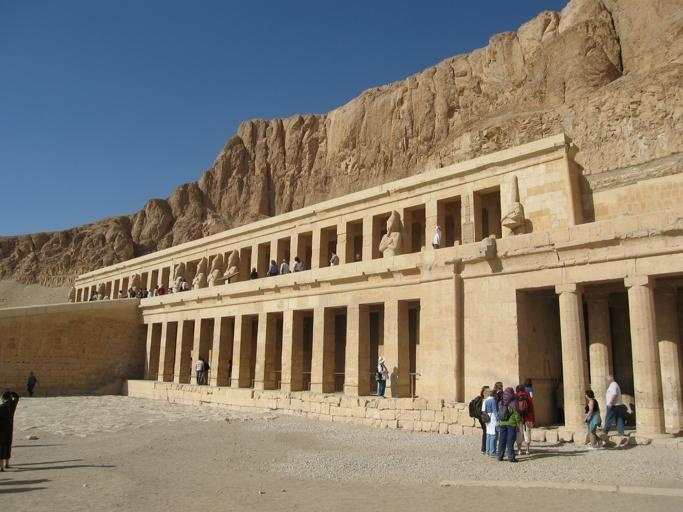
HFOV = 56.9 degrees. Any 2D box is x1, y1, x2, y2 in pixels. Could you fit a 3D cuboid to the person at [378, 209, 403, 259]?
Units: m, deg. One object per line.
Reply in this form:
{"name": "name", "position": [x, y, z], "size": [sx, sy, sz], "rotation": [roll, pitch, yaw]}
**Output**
{"name": "person", "position": [2.051, -0.938, 26.365], "size": [0.907, 2.210, 1.222], "rotation": [-2, -13, 5]}

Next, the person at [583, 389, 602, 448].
{"name": "person", "position": [7.152, 4.599, 17.878], "size": [0.378, 1.554, 0.744], "rotation": [-5, -14, 20]}

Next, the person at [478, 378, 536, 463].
{"name": "person", "position": [4.532, 4.502, 16.987], "size": [1.096, 1.946, 0.924], "rotation": [8, -16, -33]}

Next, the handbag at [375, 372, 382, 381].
{"name": "handbag", "position": [1.354, 4.432, 23.125], "size": [0.188, 0.342, 0.120], "rotation": [-9, -15, 31]}

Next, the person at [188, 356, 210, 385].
{"name": "person", "position": [-7.287, 5.812, 31.853], "size": [0.764, 1.426, 0.799], "rotation": [-13, -32, 7]}

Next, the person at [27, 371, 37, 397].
{"name": "person", "position": [-15.456, 6.294, 31.135], "size": [0.440, 1.231, 0.461], "rotation": [8, -16, -33]}

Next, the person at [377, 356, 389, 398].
{"name": "person", "position": [1.533, 4.440, 23.238], "size": [0.269, 1.373, 0.528], "rotation": [-13, -18, 43]}

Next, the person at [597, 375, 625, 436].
{"name": "person", "position": [7.905, 4.313, 18.352], "size": [0.580, 1.710, 1.264], "rotation": [-6, -14, 21]}
